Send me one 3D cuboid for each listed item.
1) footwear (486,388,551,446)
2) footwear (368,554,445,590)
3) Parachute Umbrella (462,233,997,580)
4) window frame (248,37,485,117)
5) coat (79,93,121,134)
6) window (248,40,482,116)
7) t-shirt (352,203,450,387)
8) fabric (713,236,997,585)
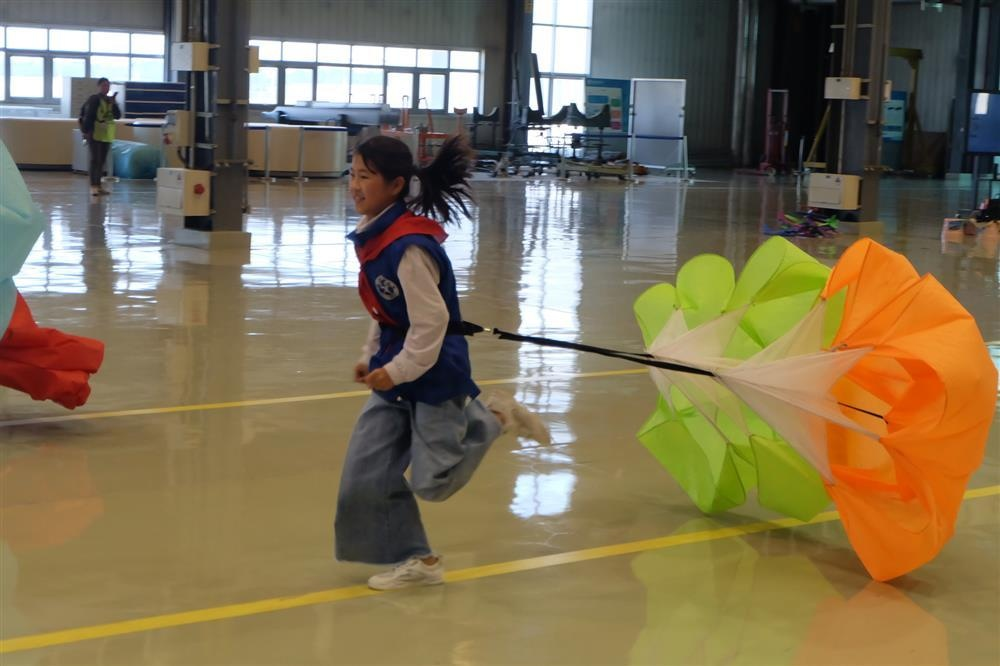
[{"bbox_3d":[0.037,0.309,3.005,0.249,0.104,0.133,10,8,-32],"label":"footwear"},{"bbox_3d":[-0.344,0.909,2.892,0.333,0.135,0.108,-1,13,-10],"label":"footwear"},{"bbox_3d":[0.704,0.100,3.156,2.286,1.315,0.947,10,48,-8],"label":"Parachute Umbrella"},{"bbox_3d":[-5.780,-10.292,29.879,12.139,2.992,0.127,11,15,24],"label":"window frame"},{"bbox_3d":[-8.693,-4.724,16.212,0.723,0.851,0.650,-4,16,-28],"label":"coat"},{"bbox_3d":[-5.791,-10.280,29.882,12.039,2.994,0.127,11,19,24],"label":"window"},{"bbox_3d":[-0.305,-0.112,2.640,0.177,0.548,0.431,-4,9,-29],"label":"t-shirt"},{"bbox_3d":[1.537,0.337,2.968,0.539,1.212,1.097,-3,-7,-30],"label":"fabric"}]
